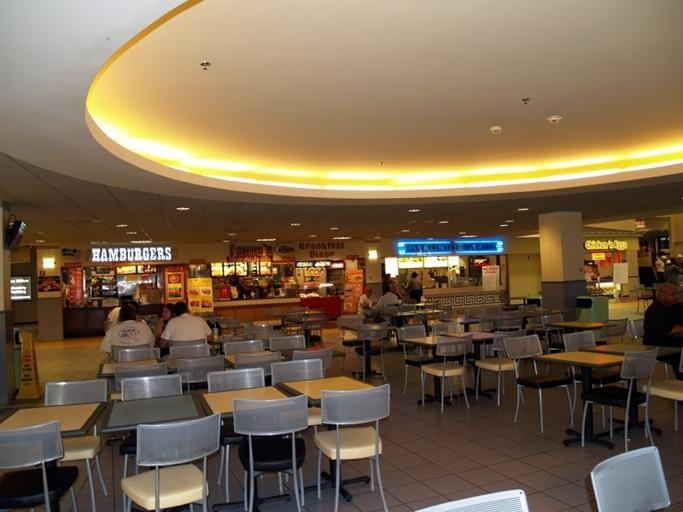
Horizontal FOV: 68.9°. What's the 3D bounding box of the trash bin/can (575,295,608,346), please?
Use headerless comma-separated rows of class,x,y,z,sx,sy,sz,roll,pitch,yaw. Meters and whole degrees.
trash bin/can,5.775,1.434,11.591,0.692,0.945,0.679,2,0,-1

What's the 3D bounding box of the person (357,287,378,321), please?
person,0.732,1.228,13.278,0.518,0.712,0.464,-1,-10,-39

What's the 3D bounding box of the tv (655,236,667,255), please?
tv,16.987,-0.595,26.464,0.448,0.978,0.755,-1,-4,-14

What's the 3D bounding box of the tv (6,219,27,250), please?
tv,-5.440,-0.400,8.330,0.245,0.562,0.868,0,-4,-32

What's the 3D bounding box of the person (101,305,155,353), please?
person,-3.128,1.128,7.346,0.832,0.702,0.422,0,-1,-39
